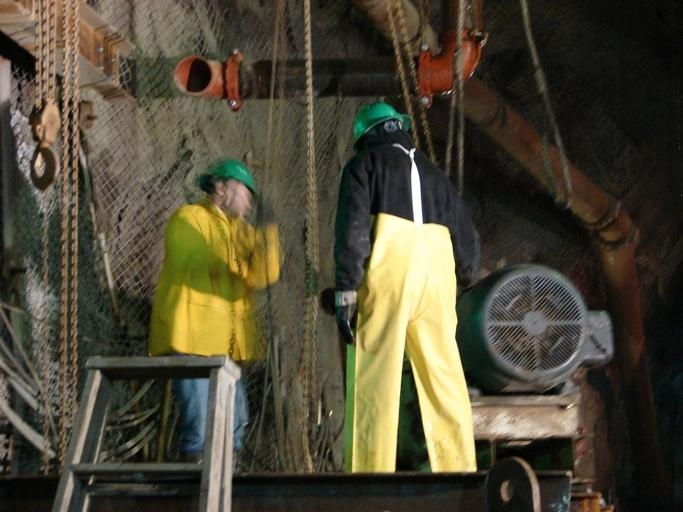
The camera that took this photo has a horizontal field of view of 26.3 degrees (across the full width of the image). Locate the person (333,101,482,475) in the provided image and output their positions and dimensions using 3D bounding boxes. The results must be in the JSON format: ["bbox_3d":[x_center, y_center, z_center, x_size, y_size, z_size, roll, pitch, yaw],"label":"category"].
[{"bbox_3d":[0.537,0.242,12.666,1.203,3.122,0.747,0,-23,0],"label":"person"}]

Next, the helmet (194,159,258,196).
[{"bbox_3d":[-1.105,-0.761,13.862,0.399,0.275,0.333,3,-8,-3],"label":"helmet"}]

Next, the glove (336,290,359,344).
[{"bbox_3d":[0.033,0.526,12.542,0.186,0.408,0.260,0,-24,-1],"label":"glove"}]
